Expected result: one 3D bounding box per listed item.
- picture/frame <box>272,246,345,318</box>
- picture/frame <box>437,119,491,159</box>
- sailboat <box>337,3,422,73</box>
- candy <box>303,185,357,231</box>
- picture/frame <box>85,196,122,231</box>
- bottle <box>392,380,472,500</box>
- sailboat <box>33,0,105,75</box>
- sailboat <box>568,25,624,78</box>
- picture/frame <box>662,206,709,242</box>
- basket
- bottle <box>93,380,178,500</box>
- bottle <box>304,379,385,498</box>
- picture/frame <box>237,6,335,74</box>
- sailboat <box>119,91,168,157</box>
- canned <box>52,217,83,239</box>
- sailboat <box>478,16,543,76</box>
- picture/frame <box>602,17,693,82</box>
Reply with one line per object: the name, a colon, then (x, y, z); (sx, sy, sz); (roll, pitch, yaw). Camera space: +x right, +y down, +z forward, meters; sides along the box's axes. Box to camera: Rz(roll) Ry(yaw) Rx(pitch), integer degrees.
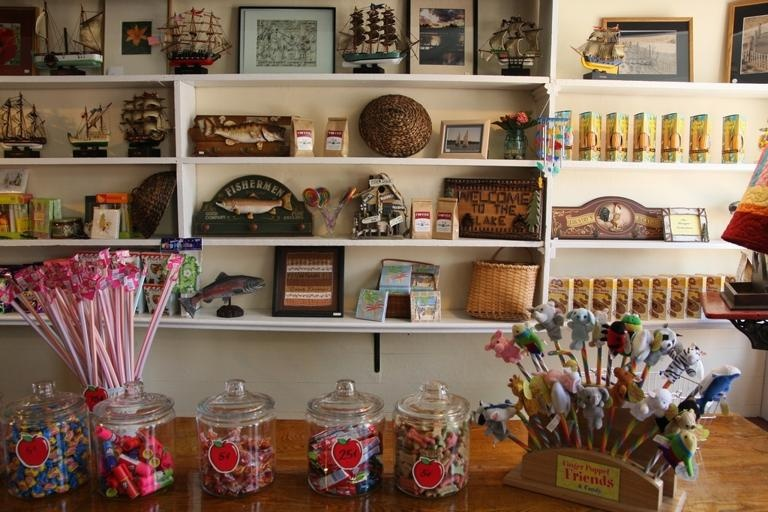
picture/frame: (-0.430, 0.159, 3.527); (0.440, 0.419, 0.044); (1, -9, 1)
picture/frame: (0.446, -0.648, 3.423); (0.268, 0.211, 0.021); (1, -10, 9)
sailboat: (-0.040, -1.205, 3.424); (0.445, 0.400, 0.263); (2, 11, 9)
candy: (-0.319, -0.298, 3.598); (0.318, 0.255, 0.263); (5, -4, 32)
picture/frame: (-1.593, -0.236, 3.505); (0.227, 0.202, 0.019); (-1, -4, 13)
bottle: (0.170, 0.701, 2.576); (0.418, 0.518, 0.404); (0, 2, 0)
sailboat: (-1.780, -1.232, 3.473); (0.380, 0.431, 0.238); (-1, 11, -9)
sailboat: (1.184, -1.111, 3.341); (0.341, 0.267, 0.177); (4, 8, 4)
picture/frame: (1.695, -0.172, 3.475); (0.212, 0.145, 0.027); (-1, -1, -6)
basket: (0.686, 0.187, 3.533); (0.503, 0.392, 0.309); (8, -5, 16)
bottle: (-0.955, 0.695, 2.356); (0.283, 0.410, 0.166); (-4, 12, -25)
bottle: (-0.144, 0.697, 2.463); (0.415, 0.521, 0.401); (1, -1, 0)
picture/frame: (-0.540, -1.204, 3.484); (0.456, 0.293, 0.037); (0, -1, -3)
sailboat: (-1.375, -0.749, 3.499); (0.296, 0.367, 0.228); (-1, 11, -9)
canned: (-1.827, -0.153, 3.554); (0.120, 0.111, 0.183); (1, 2, 3)
sailboat: (0.725, -1.149, 3.378); (0.427, 0.386, 0.230); (4, 12, 6)
picture/frame: (1.463, -1.146, 3.451); (0.447, 0.286, 0.019); (0, -2, -2)
